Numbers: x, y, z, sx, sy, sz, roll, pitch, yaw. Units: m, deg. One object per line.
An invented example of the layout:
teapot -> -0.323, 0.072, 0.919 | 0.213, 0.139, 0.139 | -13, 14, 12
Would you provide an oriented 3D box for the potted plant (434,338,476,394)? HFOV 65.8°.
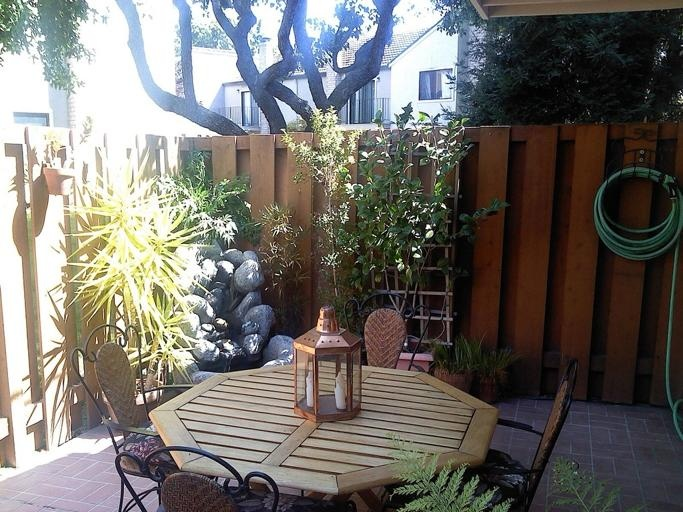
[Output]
potted plant -> 1.081, 1.055, 5.166 | 0.448, 0.626, 0.417 | 2, -8, -4
